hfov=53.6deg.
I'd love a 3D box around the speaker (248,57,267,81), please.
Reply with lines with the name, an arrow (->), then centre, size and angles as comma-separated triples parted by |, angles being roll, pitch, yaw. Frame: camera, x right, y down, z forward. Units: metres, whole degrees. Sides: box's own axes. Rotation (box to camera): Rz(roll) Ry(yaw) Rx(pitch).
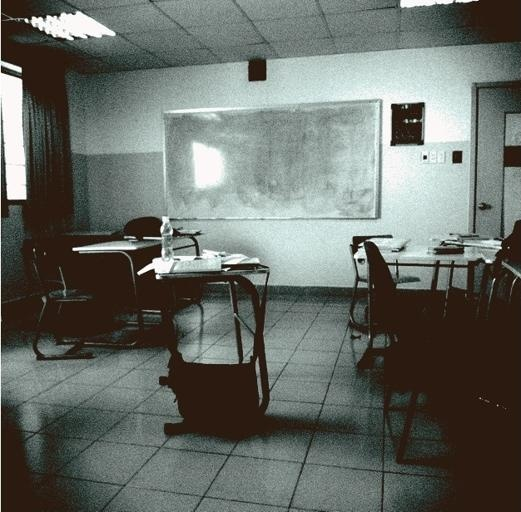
speaker -> -0.034, -2.104, 5.748 | 0.190, 0.195, 0.099 | 3, 14, 10
